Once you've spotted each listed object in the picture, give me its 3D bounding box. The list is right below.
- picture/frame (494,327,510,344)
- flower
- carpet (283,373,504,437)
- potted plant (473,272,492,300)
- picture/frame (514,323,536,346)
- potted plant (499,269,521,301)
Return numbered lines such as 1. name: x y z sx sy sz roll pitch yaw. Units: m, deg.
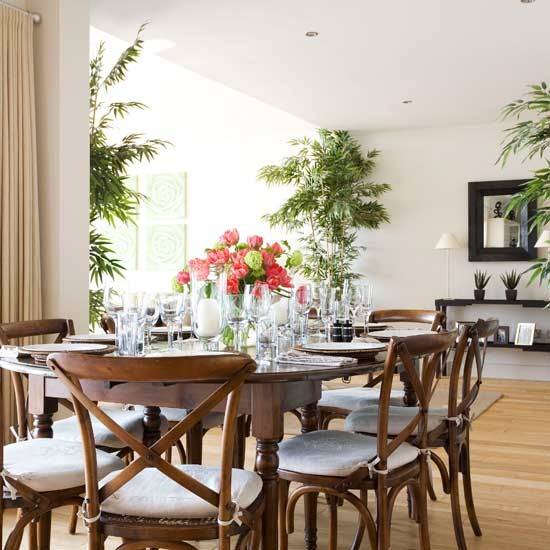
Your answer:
1. picture/frame: 2.512 0.662 6.432 0.152 0.177 0.282 -1 -1 21
2. flower: -0.116 -0.001 2.158 0.340 0.302 0.351 3 3 31
3. carpet: 0.999 1.175 6.320 1.849 0.414 2.468 0 -8 0
4. potted plant: 2.339 0.126 6.551 0.181 0.345 0.328 -1 0 20
5. picture/frame: 2.724 0.653 6.309 0.239 0.317 0.036 5 -27 32
6. potted plant: 2.617 0.119 6.435 0.209 0.351 0.335 -1 0 21
